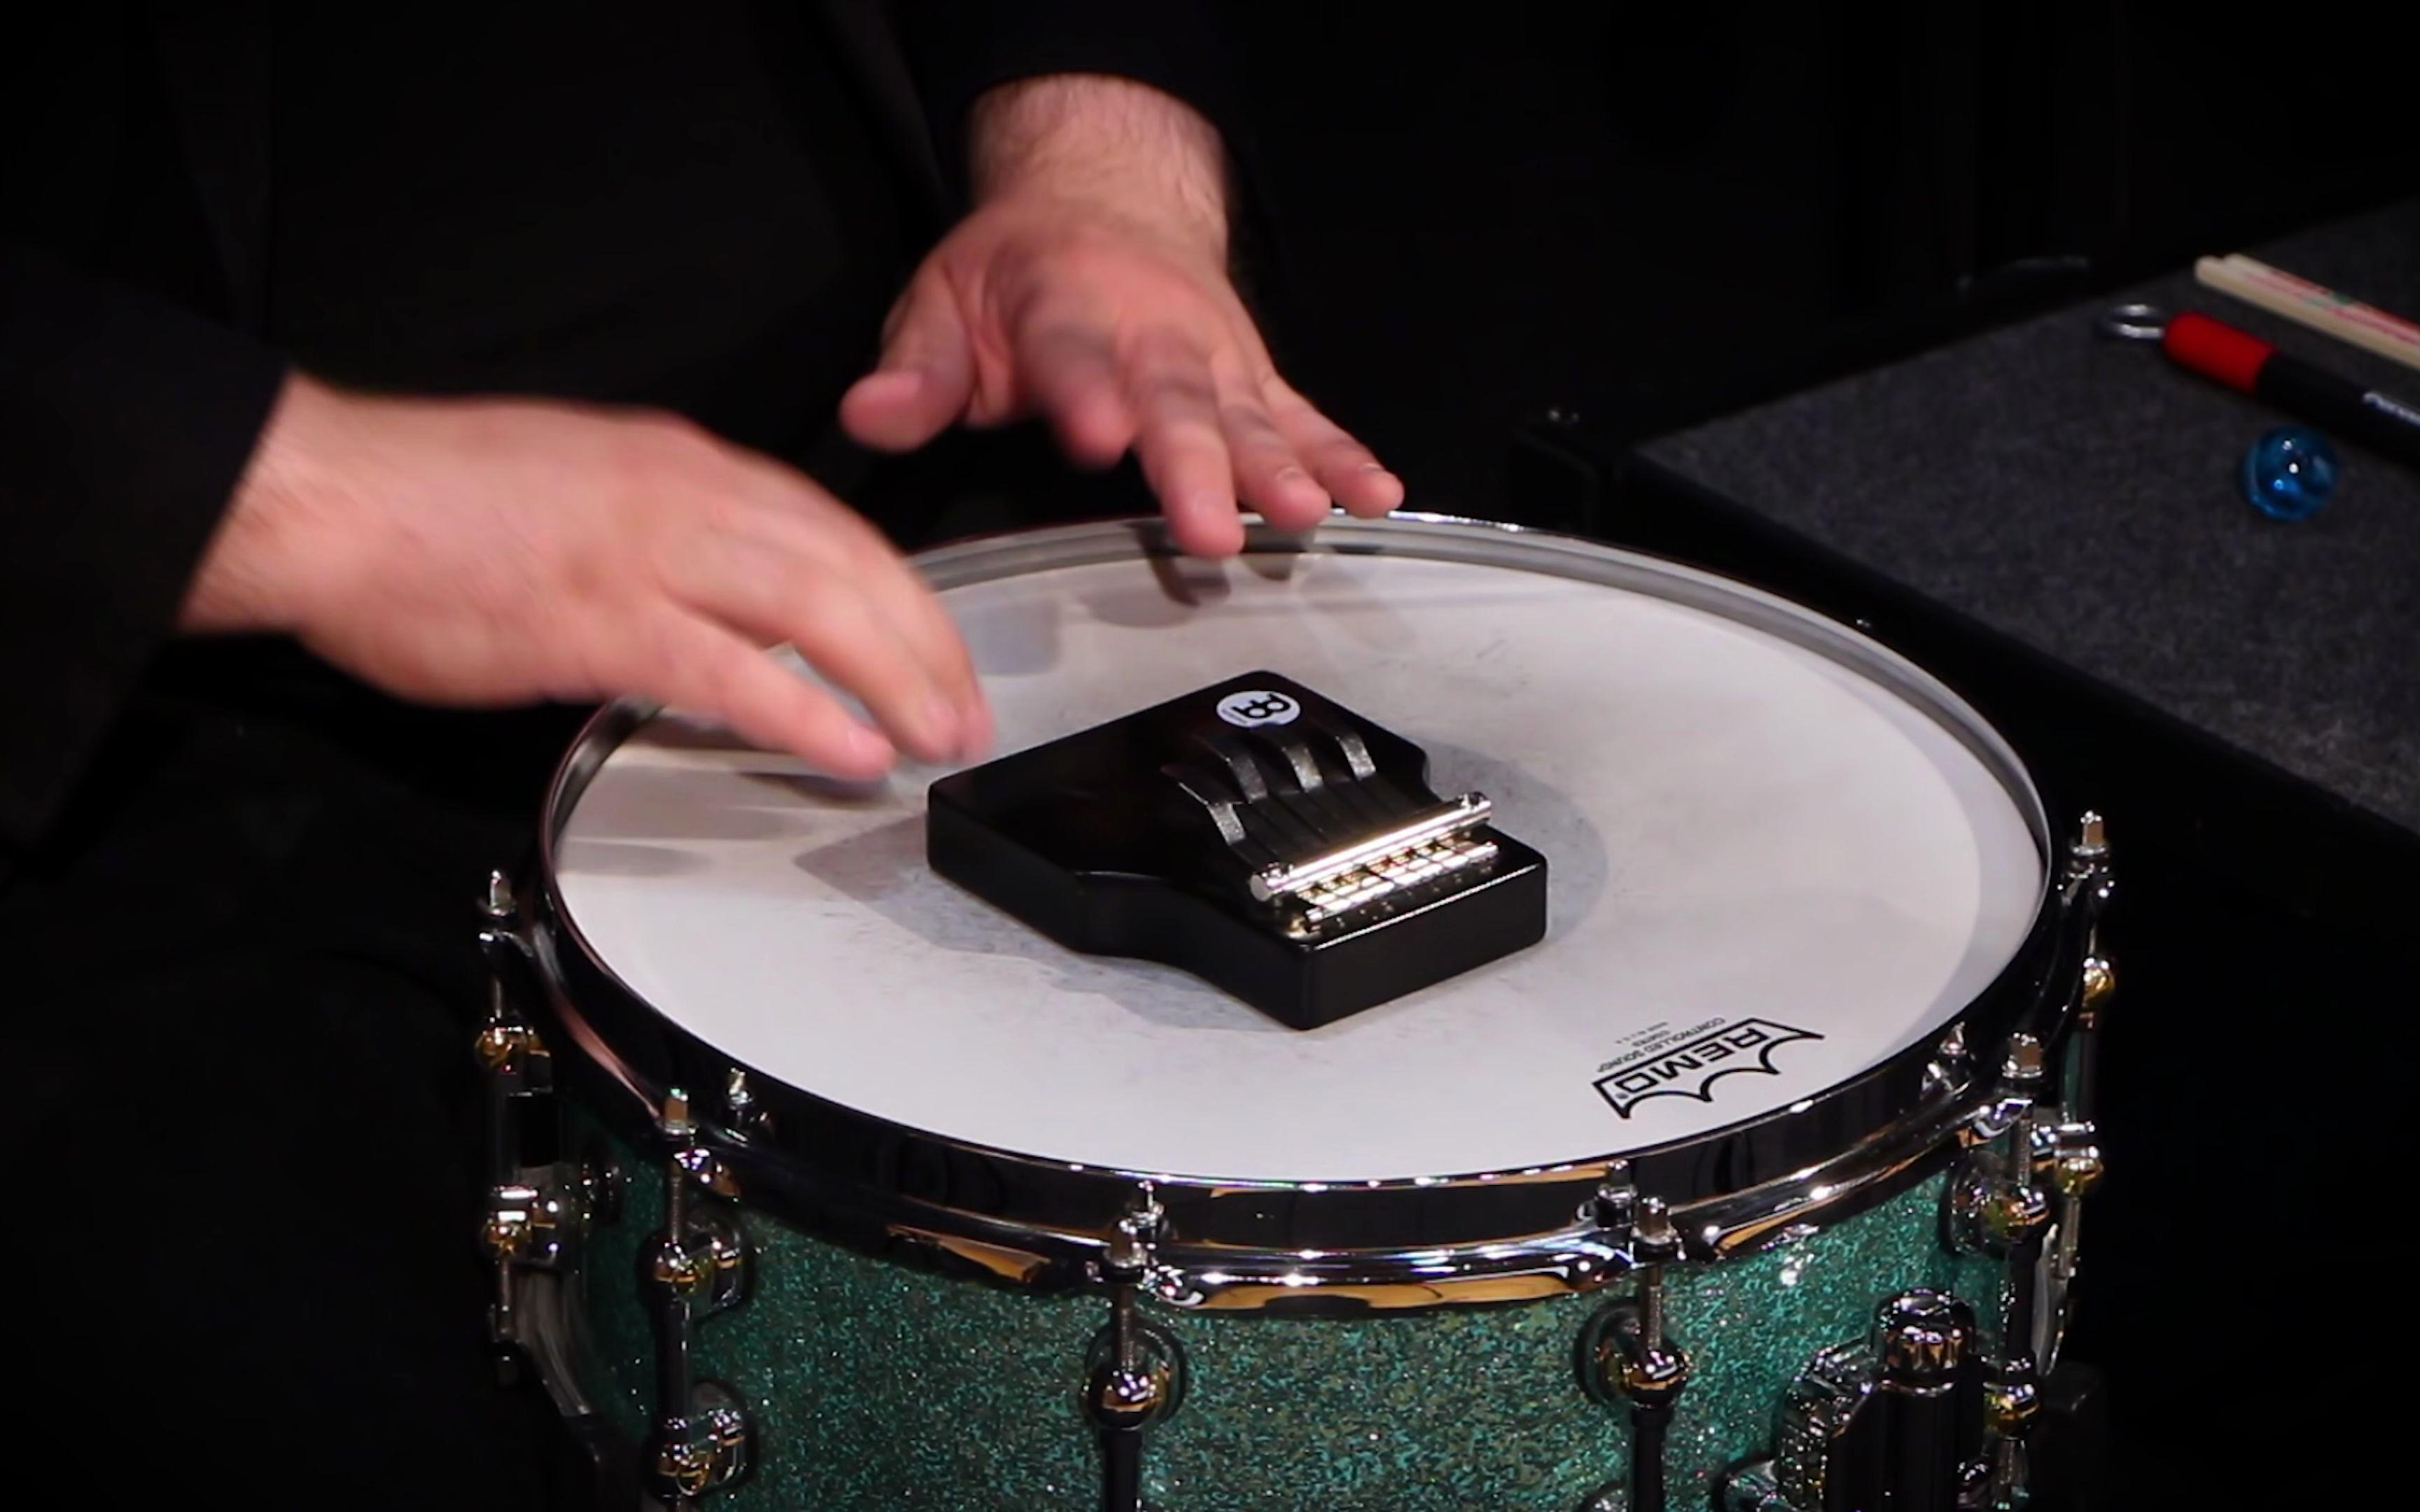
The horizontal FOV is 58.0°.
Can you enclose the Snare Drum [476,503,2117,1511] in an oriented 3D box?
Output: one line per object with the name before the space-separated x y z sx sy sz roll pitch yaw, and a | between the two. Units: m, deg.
Snare Drum | 0.053 0.254 1.301 0.730 0.266 0.734 1 30 0
